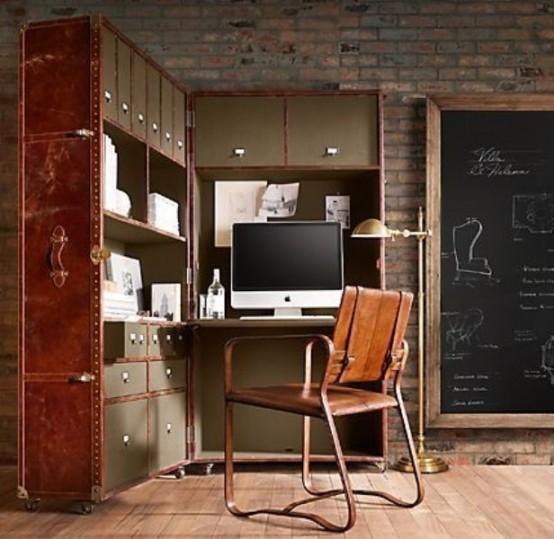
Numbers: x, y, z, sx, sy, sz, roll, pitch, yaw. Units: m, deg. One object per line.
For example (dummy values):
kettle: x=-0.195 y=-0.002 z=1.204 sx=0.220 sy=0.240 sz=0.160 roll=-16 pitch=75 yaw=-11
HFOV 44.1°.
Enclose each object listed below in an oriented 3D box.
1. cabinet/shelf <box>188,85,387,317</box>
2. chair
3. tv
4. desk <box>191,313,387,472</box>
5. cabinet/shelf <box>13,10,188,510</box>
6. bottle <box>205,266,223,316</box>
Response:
cabinet/shelf: x=0.021 y=-0.342 z=3.791 sx=1.054 sy=1.103 sz=0.351 roll=-1 pitch=0 yaw=-13
chair: x=0.184 y=0.548 z=3.019 sx=0.851 sy=0.985 sz=1.020 roll=0 pitch=0 yaw=-5
tv: x=0.041 y=-0.026 z=3.625 sx=0.522 sy=0.461 sz=0.107 roll=-1 pitch=-13 yaw=-1
desk: x=0.068 y=0.632 z=3.369 sx=0.862 sy=0.763 sz=0.333 roll=-1 pitch=-6 yaw=0
cabinet/shelf: x=-0.802 y=-0.030 z=3.221 sx=0.477 sy=2.131 sz=0.877 roll=0 pitch=0 yaw=19
bottle: x=-0.351 y=0.109 z=3.746 sx=0.097 sy=0.273 sz=0.290 roll=0 pitch=0 yaw=-4
